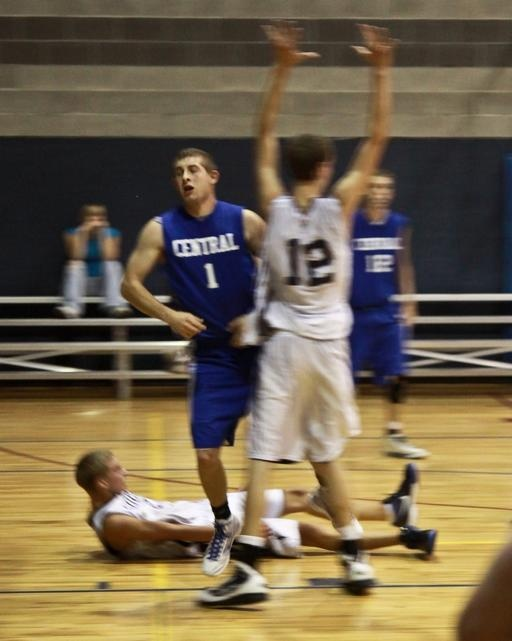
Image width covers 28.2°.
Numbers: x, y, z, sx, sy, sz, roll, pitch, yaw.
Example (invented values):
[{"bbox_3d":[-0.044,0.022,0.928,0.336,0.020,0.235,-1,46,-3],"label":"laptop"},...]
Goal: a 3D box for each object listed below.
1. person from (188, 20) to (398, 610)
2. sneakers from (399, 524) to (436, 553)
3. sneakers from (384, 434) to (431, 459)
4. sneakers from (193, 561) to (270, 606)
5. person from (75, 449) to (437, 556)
[{"bbox_3d":[0.113,-0.013,3.395,0.648,1.927,0.288,-4,9,-21],"label":"person"},{"bbox_3d":[0.606,0.818,3.791,0.139,0.081,0.132,17,-14,29],"label":"sneakers"},{"bbox_3d":[0.881,0.709,5.730,0.298,0.119,0.105,-1,-1,44],"label":"sneakers"},{"bbox_3d":[-0.053,0.895,3.452,0.317,0.178,0.102,-2,-8,6],"label":"sneakers"},{"bbox_3d":[0.016,0.729,3.865,1.210,0.321,0.532,1,-6,-10],"label":"person"}]
